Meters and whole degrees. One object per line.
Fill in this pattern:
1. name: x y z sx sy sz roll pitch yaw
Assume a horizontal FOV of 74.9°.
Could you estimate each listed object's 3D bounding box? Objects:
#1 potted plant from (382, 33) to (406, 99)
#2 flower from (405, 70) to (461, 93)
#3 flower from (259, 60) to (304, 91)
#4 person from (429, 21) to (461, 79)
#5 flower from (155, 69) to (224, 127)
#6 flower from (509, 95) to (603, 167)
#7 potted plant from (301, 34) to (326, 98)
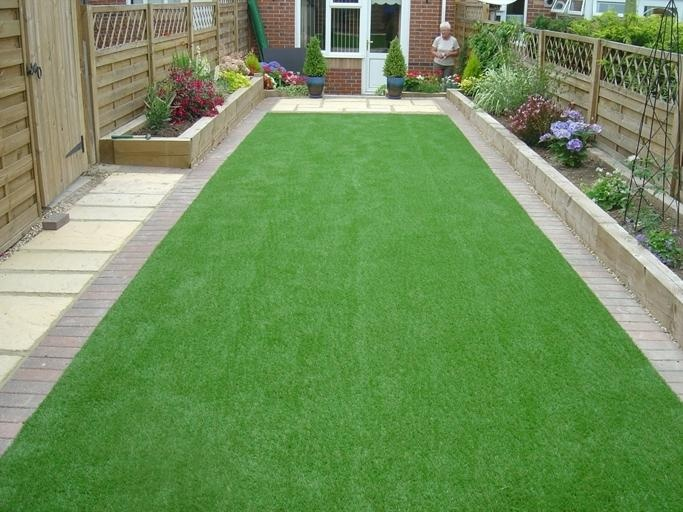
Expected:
1. potted plant: 1.556 -5.522 13.266 0.649 1.582 0.521 4 26 4
2. flower: 2.766 -5.340 13.839 1.728 0.485 0.801 -4 27 -12
3. flower: -1.869 -5.746 14.200 1.298 0.682 1.942 -2 27 -8
4. person: 3.368 -6.660 14.498 0.882 1.590 0.684 3 26 4
5. flower: -2.937 -3.236 8.629 1.241 0.880 1.289 -4 61 -30
6. flower: 3.588 -2.048 7.444 0.919 0.754 1.339 -24 30 13
7. potted plant: -0.805 -5.568 13.265 0.666 1.640 0.749 -1 26 -6
